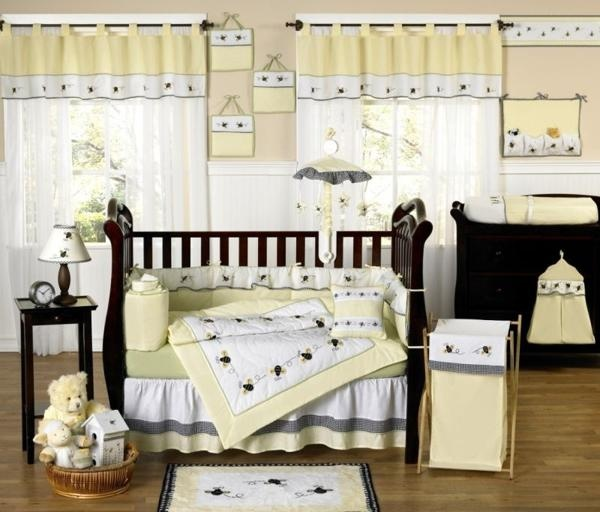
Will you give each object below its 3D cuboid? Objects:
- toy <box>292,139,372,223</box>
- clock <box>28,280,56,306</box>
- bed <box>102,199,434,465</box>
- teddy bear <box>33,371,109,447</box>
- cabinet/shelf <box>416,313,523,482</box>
[{"bbox_3d":[0.187,-0.473,4.618,0.481,0.542,0.500,0,-1,-4],"label":"toy"},{"bbox_3d":[-1.273,0.178,3.788,0.122,0.120,0.115,-3,13,-17],"label":"clock"},{"bbox_3d":[-0.124,0.292,4.193,1.667,1.314,1.126,-2,11,-6],"label":"bed"},{"bbox_3d":[-1.072,0.729,3.617,0.354,0.379,0.206,-4,0,-35],"label":"teddy bear"},{"bbox_3d":[0.784,0.687,3.875,0.621,0.995,0.672,0,0,11],"label":"cabinet/shelf"}]
